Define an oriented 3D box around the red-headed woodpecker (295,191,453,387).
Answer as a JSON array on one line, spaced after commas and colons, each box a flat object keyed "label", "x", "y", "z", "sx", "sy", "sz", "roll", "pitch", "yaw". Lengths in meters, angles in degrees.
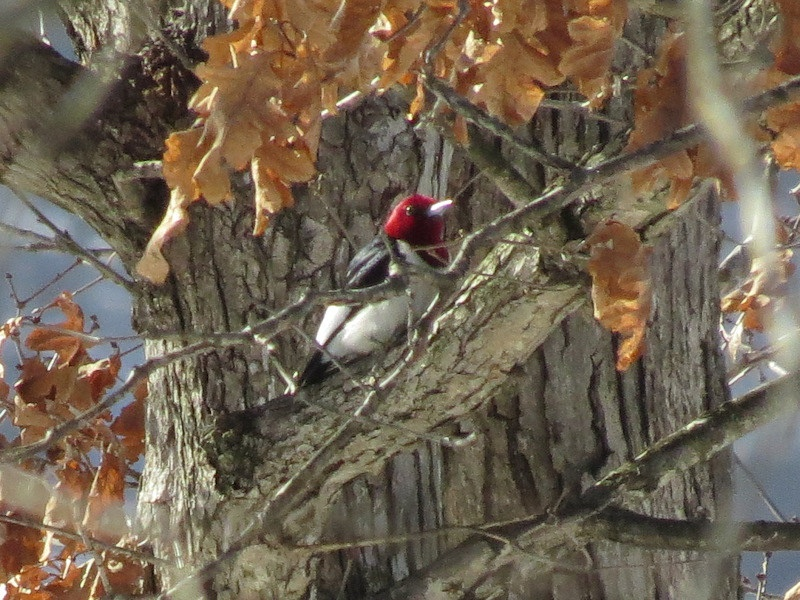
[{"label": "red-headed woodpecker", "x": -0.153, "y": -0.049, "z": 11.482, "sx": 0.718, "sy": 0.718, "sz": 0.338, "roll": -24, "pitch": -53, "yaw": 14}]
